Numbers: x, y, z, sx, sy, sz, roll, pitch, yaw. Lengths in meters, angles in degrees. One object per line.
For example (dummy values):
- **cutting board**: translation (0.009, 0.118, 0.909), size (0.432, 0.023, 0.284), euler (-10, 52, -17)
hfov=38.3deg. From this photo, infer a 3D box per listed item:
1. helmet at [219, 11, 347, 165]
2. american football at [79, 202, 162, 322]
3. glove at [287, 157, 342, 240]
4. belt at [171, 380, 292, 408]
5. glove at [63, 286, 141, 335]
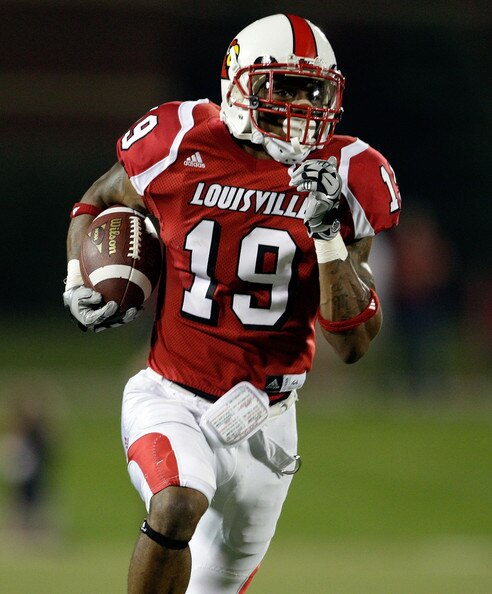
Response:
- **helmet**: translation (0.095, -0.534, 1.796), size (0.304, 0.287, 0.415), euler (-5, 40, -9)
- **american football**: translation (-0.320, -0.085, 1.951), size (0.242, 0.192, 0.310), euler (4, 49, -7)
- **glove**: translation (0.158, -0.224, 1.610), size (0.119, 0.168, 0.140), euler (3, 41, -1)
- **belt**: translation (-0.021, 0.260, 1.870), size (0.176, 0.050, 0.115), euler (9, 2, -11)
- **glove**: translation (-0.398, 0.012, 1.927), size (0.187, 0.119, 0.185), euler (17, 20, 40)
